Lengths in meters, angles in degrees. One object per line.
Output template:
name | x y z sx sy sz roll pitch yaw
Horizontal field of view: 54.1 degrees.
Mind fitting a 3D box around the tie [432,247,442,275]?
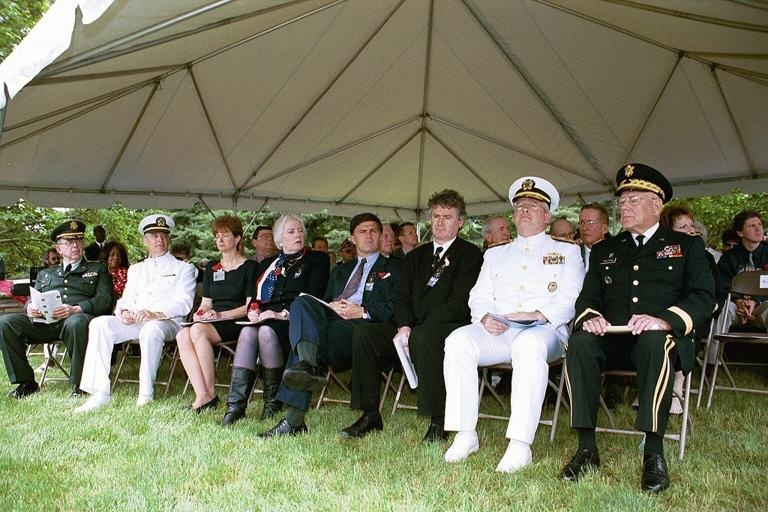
tie | 0.572 0.059 8.024 0.066 0.304 0.044 11 -23 11

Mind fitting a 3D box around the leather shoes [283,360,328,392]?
leather shoes | -0.764 1.162 7.459 0.423 0.235 0.248 12 31 -27

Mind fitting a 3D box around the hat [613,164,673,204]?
hat | 2.547 -0.757 7.271 0.434 0.200 0.409 22 -12 -20

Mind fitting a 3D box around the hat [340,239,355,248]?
hat | -0.586 -0.191 12.229 0.261 0.149 0.335 3 -5 -5

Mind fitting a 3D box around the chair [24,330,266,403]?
chair | -3.501 1.470 10.083 2.384 1.376 0.960 -2 -16 10

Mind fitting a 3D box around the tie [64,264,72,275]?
tie | -4.007 0.174 9.544 0.058 0.110 0.025 31 -26 -10

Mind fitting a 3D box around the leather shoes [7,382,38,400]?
leather shoes | -4.284 1.611 8.979 0.126 0.158 0.359 15 10 31

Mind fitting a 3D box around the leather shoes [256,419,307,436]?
leather shoes | -1.032 1.715 7.514 0.472 0.165 0.172 3 -14 -15

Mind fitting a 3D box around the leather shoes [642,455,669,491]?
leather shoes | 2.333 1.876 6.457 0.236 0.255 0.259 2 9 21
